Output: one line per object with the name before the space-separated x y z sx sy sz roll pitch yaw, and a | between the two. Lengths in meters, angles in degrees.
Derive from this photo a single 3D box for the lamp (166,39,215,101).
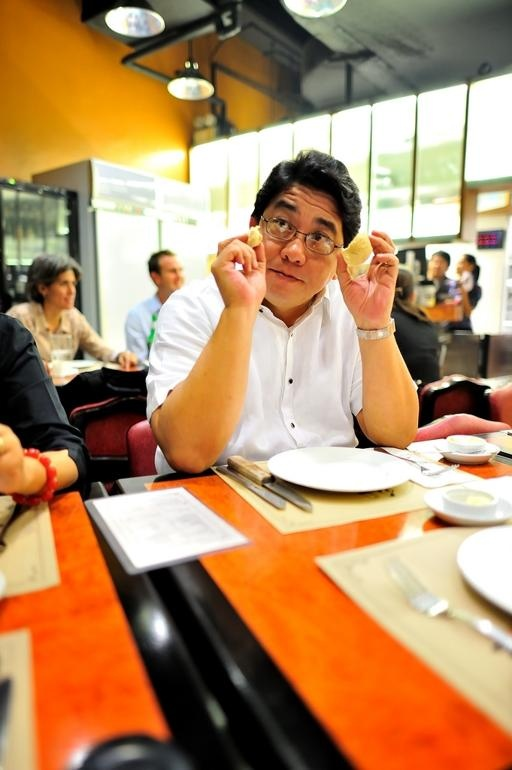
lamp | -0.507 -2.419 4.347 0.308 0.438 0.585 -3 12 -13

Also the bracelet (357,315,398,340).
bracelet | 0.294 -0.136 1.420 0.062 0.023 0.063 -6 32 6

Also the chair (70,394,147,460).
chair | -0.566 0.149 2.212 0.277 0.258 0.265 0 0 -18

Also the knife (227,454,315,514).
knife | 0.014 0.140 0.965 0.045 0.023 0.260 1 12 -30

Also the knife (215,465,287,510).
knife | -0.015 0.159 0.962 0.038 0.011 0.213 -3 5 -14

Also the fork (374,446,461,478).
fork | 0.310 0.145 1.131 0.041 0.021 0.142 3 4 -15
